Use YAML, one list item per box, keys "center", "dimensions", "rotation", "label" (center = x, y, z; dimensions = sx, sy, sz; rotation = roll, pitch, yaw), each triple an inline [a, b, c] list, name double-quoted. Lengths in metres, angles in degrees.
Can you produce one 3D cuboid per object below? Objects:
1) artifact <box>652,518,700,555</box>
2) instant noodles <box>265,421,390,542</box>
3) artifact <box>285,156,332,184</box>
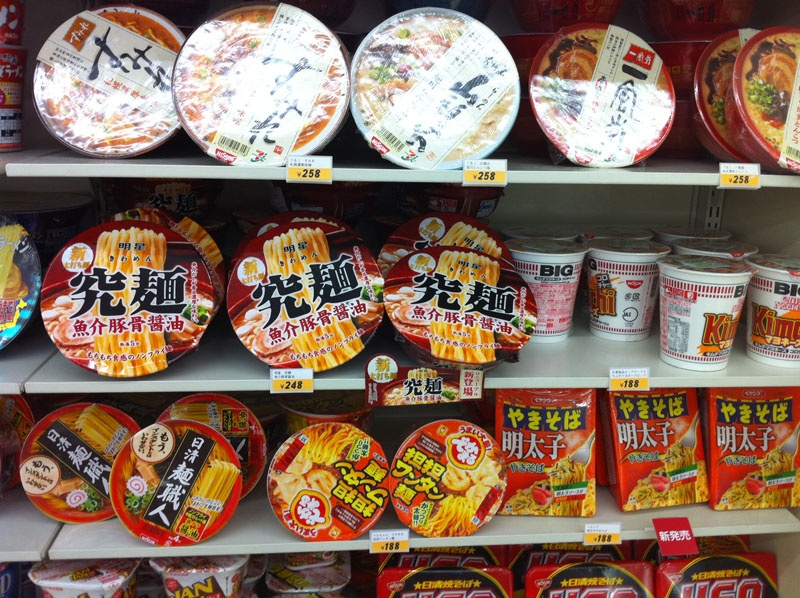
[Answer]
- center: [0.933, 0.802, 2.047]
  dimensions: [0.128, 0.031, 0.132]
  rotation: [-1, 62, -4]
  label: "artifact"
- center: [-0.221, 0.652, 2.038]
  dimensions: [0.407, 0.152, 0.429]
  rotation: [-3, 44, -18]
  label: "instant noodles"
- center: [-0.255, -0.371, 1.744]
  dimensions: [0.131, 0.081, 0.087]
  rotation: [-5, 17, -6]
  label: "artifact"
